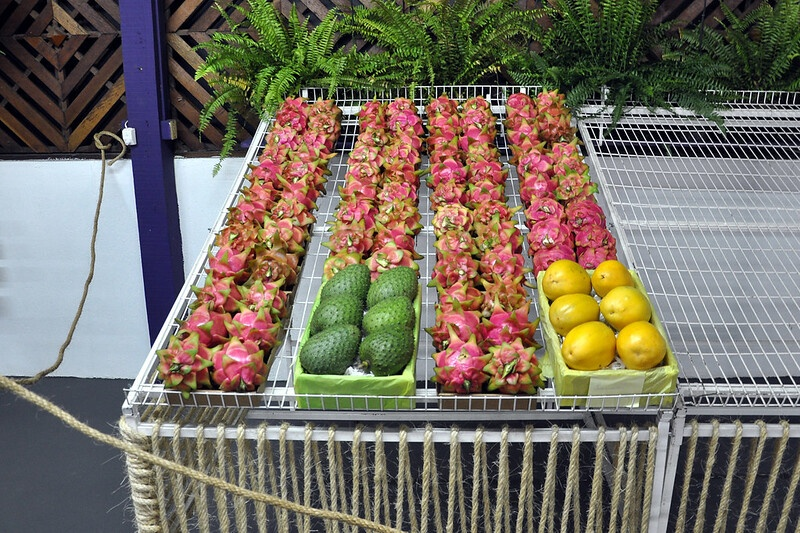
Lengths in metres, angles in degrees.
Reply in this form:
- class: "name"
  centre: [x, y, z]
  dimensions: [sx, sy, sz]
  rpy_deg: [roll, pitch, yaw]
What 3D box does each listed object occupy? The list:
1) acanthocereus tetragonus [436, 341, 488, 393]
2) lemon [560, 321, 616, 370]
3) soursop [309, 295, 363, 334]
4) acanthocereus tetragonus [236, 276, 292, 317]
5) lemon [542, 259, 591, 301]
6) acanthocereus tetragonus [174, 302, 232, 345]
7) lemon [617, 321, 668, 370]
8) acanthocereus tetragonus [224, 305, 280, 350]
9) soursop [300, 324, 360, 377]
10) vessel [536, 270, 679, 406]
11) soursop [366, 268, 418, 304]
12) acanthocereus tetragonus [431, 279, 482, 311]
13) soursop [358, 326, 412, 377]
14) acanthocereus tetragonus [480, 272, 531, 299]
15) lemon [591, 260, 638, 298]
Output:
- class: "acanthocereus tetragonus"
  centre: [0.189, 0.318, 2.094]
  dimensions: [0.167, 0.118, 0.133]
  rpy_deg: [0, 50, 1]
- class: "lemon"
  centre: [0.587, 0.250, 2.109]
  dimensions: [0.165, 0.120, 0.121]
  rpy_deg: [-4, 83, -38]
- class: "soursop"
  centre: [-0.213, 0.153, 2.256]
  dimensions: [0.150, 0.116, 0.116]
  rpy_deg: [-15, 82, -25]
- class: "acanthocereus tetragonus"
  centre: [-0.460, 0.099, 2.247]
  dimensions: [0.133, 0.062, 0.132]
  rpy_deg: [27, 35, 4]
- class: "lemon"
  centre: [0.544, 0.027, 2.243]
  dimensions: [0.130, 0.140, 0.164]
  rpy_deg: [7, 8, 44]
- class: "acanthocereus tetragonus"
  centre: [-0.639, 0.180, 2.158]
  dimensions: [0.124, 0.137, 0.119]
  rpy_deg: [-2, 89, 6]
- class: "lemon"
  centre: [0.739, 0.240, 2.108]
  dimensions: [0.150, 0.146, 0.138]
  rpy_deg: [19, 86, 6]
- class: "acanthocereus tetragonus"
  centre: [-0.484, 0.186, 2.171]
  dimensions: [0.148, 0.084, 0.148]
  rpy_deg: [23, 60, -2]
- class: "soursop"
  centre: [-0.229, 0.247, 2.163]
  dimensions: [0.166, 0.133, 0.117]
  rpy_deg: [-41, 14, -2]
- class: "vessel"
  centre: [0.646, 0.253, 2.066]
  dimensions: [0.298, 0.139, 0.404]
  rpy_deg: [-1, 40, 2]
- class: "soursop"
  centre: [-0.023, 0.056, 2.280]
  dimensions: [0.163, 0.099, 0.104]
  rpy_deg: [-31, 51, -32]
- class: "acanthocereus tetragonus"
  centre: [0.203, 0.095, 2.216]
  dimensions: [0.109, 0.055, 0.109]
  rpy_deg: [0, 20, 0]
- class: "soursop"
  centre: [-0.035, 0.256, 2.145]
  dimensions: [0.163, 0.106, 0.126]
  rpy_deg: [-25, 16, -30]
- class: "acanthocereus tetragonus"
  centre: [0.345, 0.064, 2.238]
  dimensions: [0.104, 0.044, 0.106]
  rpy_deg: [-15, 32, -30]
- class: "lemon"
  centre: [0.706, 0.045, 2.213]
  dimensions: [0.118, 0.144, 0.123]
  rpy_deg: [2, 87, 16]
